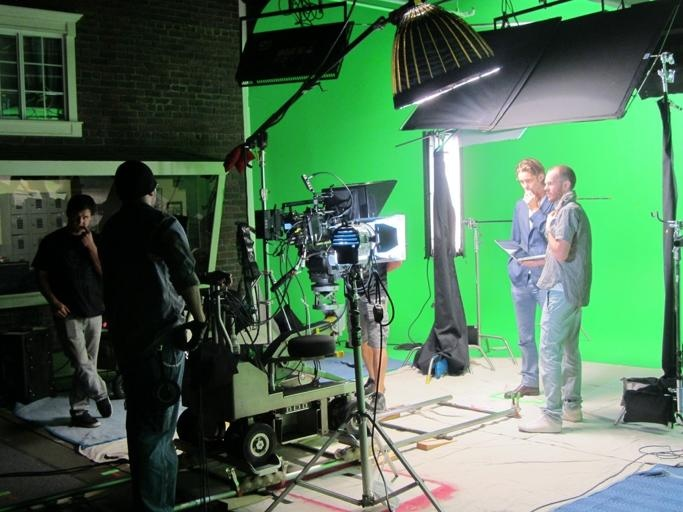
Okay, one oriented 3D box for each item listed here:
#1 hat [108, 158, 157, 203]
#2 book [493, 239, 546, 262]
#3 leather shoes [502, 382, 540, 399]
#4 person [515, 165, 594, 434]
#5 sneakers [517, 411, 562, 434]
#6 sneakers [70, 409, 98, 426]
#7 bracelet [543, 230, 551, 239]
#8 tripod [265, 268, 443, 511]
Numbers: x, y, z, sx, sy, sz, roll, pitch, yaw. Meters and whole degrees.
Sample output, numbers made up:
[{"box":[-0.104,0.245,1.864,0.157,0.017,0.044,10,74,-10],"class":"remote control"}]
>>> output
[{"box":[-1.515,-0.527,5.186,0.262,0.291,0.339,7,2,25],"class":"hat"},{"box":[1.760,-0.030,7.190,0.324,0.075,0.303,9,12,36],"class":"book"},{"box":[1.872,1.417,7.497,0.427,0.175,0.149,2,-4,2],"class":"leather shoes"},{"box":[1.937,0.403,6.494,0.510,2.362,0.666,3,10,29],"class":"person"},{"box":[1.783,1.516,6.517,0.343,0.145,0.181,1,-4,12],"class":"sneakers"},{"box":[-2.529,1.610,7.118,0.331,0.143,0.123,0,0,10],"class":"sneakers"},{"box":[1.957,-0.192,6.925,0.035,0.114,0.114,3,3,-17],"class":"bracelet"},{"box":[-0.032,0.989,5.384,1.225,1.797,1.216,-5,9,-17],"class":"tripod"}]
